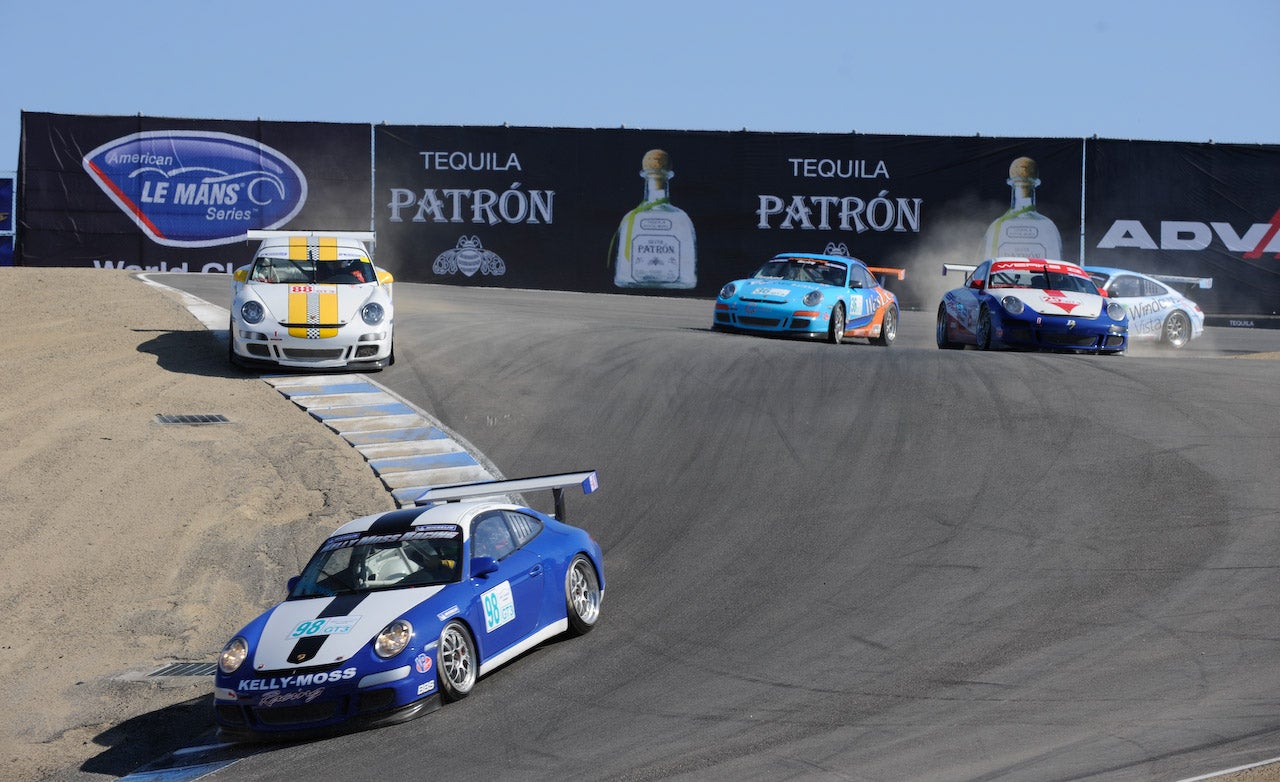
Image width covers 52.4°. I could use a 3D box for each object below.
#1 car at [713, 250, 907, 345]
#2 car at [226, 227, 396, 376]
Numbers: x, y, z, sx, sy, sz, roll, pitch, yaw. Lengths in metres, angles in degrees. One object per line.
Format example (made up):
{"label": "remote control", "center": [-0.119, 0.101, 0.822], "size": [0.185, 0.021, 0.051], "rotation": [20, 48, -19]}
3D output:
{"label": "car", "center": [3.188, -1.628, 24.131], "size": [3.409, 1.654, 1.804], "rotation": [-6, 12, -37]}
{"label": "car", "center": [-5.273, -1.442, 21.016], "size": [1.676, 1.145, 3.094], "rotation": [0, 10, -6]}
